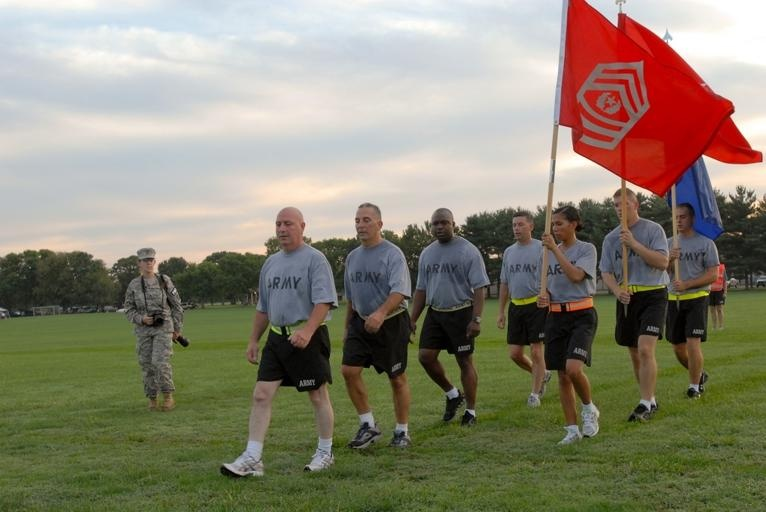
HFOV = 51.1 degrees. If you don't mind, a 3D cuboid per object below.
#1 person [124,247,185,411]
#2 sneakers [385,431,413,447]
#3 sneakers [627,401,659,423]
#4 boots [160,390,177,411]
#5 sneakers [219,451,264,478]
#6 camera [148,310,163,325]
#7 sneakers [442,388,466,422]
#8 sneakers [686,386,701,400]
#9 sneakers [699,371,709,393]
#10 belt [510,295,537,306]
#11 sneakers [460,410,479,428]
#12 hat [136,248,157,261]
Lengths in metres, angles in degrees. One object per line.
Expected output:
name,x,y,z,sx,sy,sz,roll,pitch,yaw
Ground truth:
person,-4.260,1.320,15.071,1.002,1.940,0.951,-4,-2,-17
sneakers,0.264,2.711,11.924,0.316,0.190,0.339,-4,-1,0
sneakers,4.111,2.410,12.545,0.721,0.275,0.266,-3,-2,-40
boots,-3.835,2.670,14.699,0.260,0.422,0.466,4,-8,-30
sneakers,-1.830,2.819,10.693,0.627,0.265,0.237,10,-12,-21
camera,-4.216,1.167,15.077,0.215,0.263,0.298,8,-2,-13
sneakers,1.159,2.497,13.234,0.287,0.579,0.219,33,-11,-16
sneakers,5.293,2.310,13.656,0.228,0.195,0.458,-4,-1,20
sneakers,5.679,2.248,14.209,0.152,0.428,0.199,-1,-40,32
belt,2.579,0.820,14.595,0.519,0.138,0.124,-4,-1,39
sneakers,1.391,2.612,12.792,0.178,0.180,0.466,-5,-10,18
hat,-3.858,-0.012,13.174,0.331,0.141,0.409,1,-3,-13
